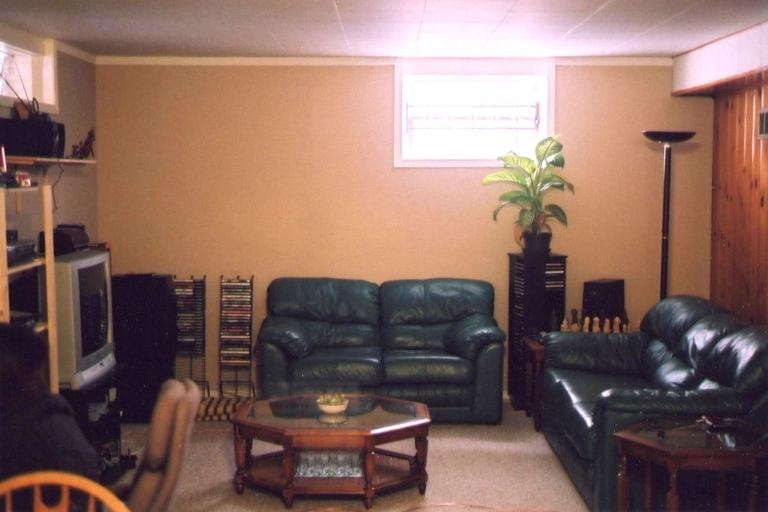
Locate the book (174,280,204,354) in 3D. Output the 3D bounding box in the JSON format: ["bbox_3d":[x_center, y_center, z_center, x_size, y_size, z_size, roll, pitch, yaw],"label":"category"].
[{"bbox_3d":[-1.992,0.625,6.631,0.303,0.785,0.225,-4,16,-15],"label":"book"}]

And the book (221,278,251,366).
[{"bbox_3d":[-1.527,0.684,6.622,0.318,0.883,0.263,0,15,2],"label":"book"}]

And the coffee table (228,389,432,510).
[{"bbox_3d":[-0.417,1.507,5.054,1.507,0.599,0.766,1,14,4],"label":"coffee table"}]

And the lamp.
[{"bbox_3d":[2.770,-0.400,6.492,0.429,1.712,0.904,7,16,24],"label":"lamp"}]

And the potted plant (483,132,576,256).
[{"bbox_3d":[1.529,-0.608,7.044,1.100,1.350,1.198,0,1,39],"label":"potted plant"}]
